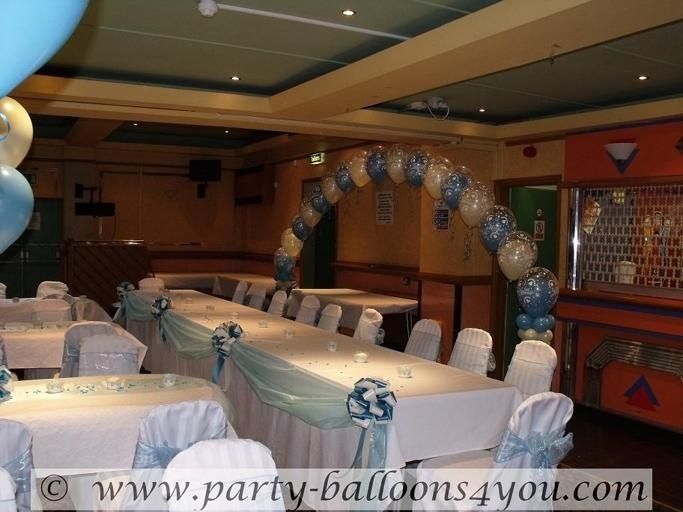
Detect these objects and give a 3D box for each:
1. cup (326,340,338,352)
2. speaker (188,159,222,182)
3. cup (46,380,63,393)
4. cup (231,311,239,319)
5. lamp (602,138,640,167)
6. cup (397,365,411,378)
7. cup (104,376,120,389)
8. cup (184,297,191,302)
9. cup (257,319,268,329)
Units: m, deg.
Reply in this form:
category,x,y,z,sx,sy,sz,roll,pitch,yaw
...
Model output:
category,x,y,z,sx,sy,sz,roll,pitch,yaw
cup,-0.095,0.853,4.716,0.068,0.079,0.071,-1,-2,0
speaker,-3.372,-2.120,12.623,0.911,0.508,0.660,1,-2,1
cup,-2.069,0.941,3.612,0.075,0.037,0.105,1,2,-18
cup,-1.339,0.744,6.311,0.075,0.064,0.076,1,-2,0
lamp,3.264,-1.200,5.862,0.257,0.134,0.268,-2,-2,3
cup,0.486,0.891,3.870,0.084,0.065,0.078,-2,0,0
cup,-1.696,0.935,3.694,0.070,0.039,0.094,1,-5,32
cup,-2.336,0.660,7.622,0.077,0.059,0.077,2,0,0
cup,-0.916,0.798,5.805,0.095,0.073,0.078,-5,-4,43
